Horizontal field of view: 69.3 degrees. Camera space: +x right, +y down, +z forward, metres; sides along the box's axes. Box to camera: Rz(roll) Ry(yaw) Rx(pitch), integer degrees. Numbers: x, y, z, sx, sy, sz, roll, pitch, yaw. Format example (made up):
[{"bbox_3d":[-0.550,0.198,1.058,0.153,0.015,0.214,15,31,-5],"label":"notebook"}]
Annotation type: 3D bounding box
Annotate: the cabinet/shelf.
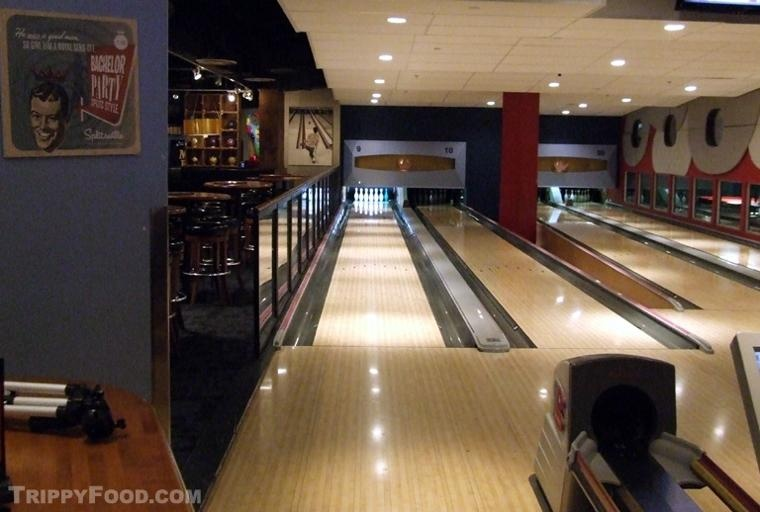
[{"bbox_3d":[-4.076,-3.053,13.240,1.497,1.720,0.626,3,9,15],"label":"cabinet/shelf"}]
